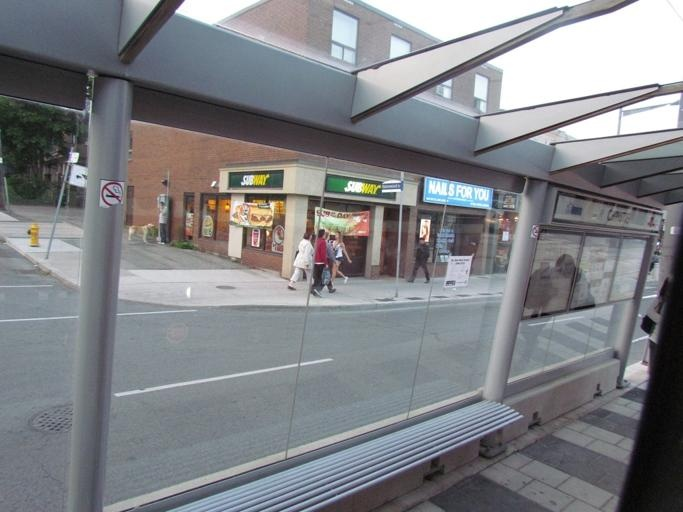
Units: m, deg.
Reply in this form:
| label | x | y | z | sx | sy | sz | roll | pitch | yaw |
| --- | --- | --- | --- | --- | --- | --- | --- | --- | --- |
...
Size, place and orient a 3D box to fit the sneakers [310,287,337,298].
| label | x | y | z | sx | sy | sz | roll | pitch | yaw |
| --- | --- | --- | --- | --- | --- | --- | --- | --- | --- |
| sneakers | -0.147 | 0.291 | 4.214 | 0.239 | 0.100 | 0.073 | -8 | 20 | -21 |
